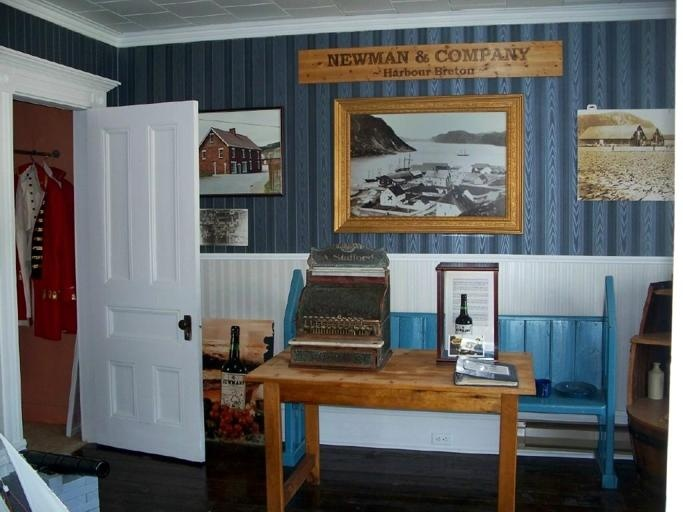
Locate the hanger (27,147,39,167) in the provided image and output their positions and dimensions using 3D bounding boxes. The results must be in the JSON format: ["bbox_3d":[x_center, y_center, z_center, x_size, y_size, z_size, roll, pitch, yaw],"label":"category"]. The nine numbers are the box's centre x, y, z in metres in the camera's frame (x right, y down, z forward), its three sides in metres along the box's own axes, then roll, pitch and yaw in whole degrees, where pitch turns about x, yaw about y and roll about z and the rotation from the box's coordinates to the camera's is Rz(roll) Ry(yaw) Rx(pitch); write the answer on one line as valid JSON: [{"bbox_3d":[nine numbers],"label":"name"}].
[{"bbox_3d":[-2.723,-0.865,5.280,0.083,0.128,0.536,-6,16,-26],"label":"hanger"}]

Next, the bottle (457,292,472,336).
[{"bbox_3d":[0.787,0.370,3.862,0.109,0.256,0.074,5,14,14],"label":"bottle"}]

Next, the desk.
[{"bbox_3d":[0.296,0.760,4.017,1.865,1.172,1.011,0,2,11],"label":"desk"}]

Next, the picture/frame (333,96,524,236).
[{"bbox_3d":[0.745,-0.721,4.750,1.098,0.790,0.055,1,1,8],"label":"picture/frame"}]
